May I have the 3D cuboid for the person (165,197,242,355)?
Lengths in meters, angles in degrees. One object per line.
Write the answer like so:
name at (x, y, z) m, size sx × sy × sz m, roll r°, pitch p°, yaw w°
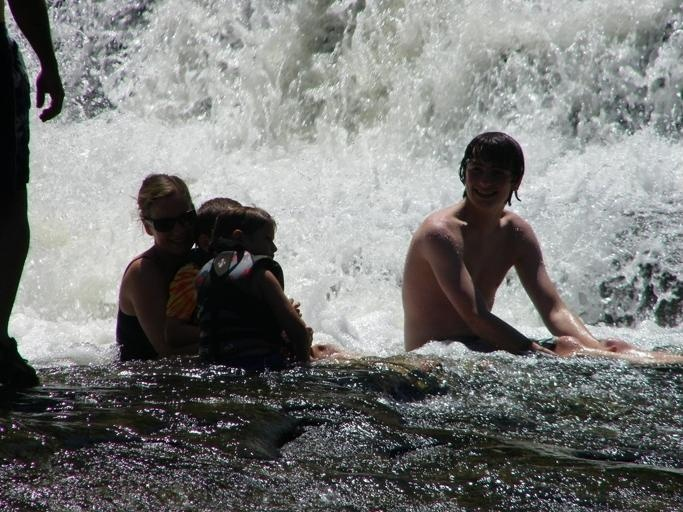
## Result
person at (-0.928, 0.119, 5.484) m, size 0.600 × 0.828 × 0.322 m, roll 9°, pitch 1°, yaw 30°

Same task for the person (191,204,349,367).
person at (-0.494, 0.168, 5.108) m, size 0.689 × 0.878 × 0.566 m, roll 5°, pitch 3°, yaw 6°

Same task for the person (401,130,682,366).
person at (0.960, -0.056, 5.730) m, size 1.076 × 1.486 × 0.657 m, roll 5°, pitch 3°, yaw 3°
